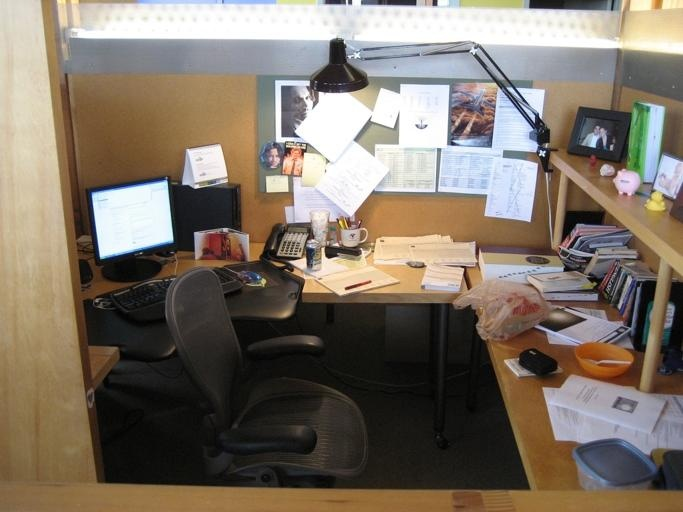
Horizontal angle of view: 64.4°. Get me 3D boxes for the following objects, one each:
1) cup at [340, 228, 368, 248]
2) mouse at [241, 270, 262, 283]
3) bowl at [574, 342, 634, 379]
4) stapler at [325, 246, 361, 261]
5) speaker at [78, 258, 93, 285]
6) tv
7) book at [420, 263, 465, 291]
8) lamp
[{"bbox_3d":[0.065,-0.093,2.741,0.138,0.087,0.084,0,13,-7],"label":"cup"},{"bbox_3d":[-0.418,0.093,2.476,0.076,0.021,0.051,3,22,2],"label":"mouse"},{"bbox_3d":[0.857,0.343,1.785,0.152,0.061,0.150,-8,24,3],"label":"bowl"},{"bbox_3d":[0.009,-0.015,2.642,0.202,0.067,0.062,2,33,7],"label":"stapler"},{"bbox_3d":[-1.073,0.066,2.269,0.068,0.029,0.111,-12,49,-28],"label":"speaker"},{"bbox_3d":[-0.959,-0.109,2.499,0.402,0.431,0.295,-15,30,-37],"label":"tv"},{"bbox_3d":[0.450,0.094,2.407,0.168,0.079,0.248,4,8,13],"label":"book"},{"bbox_3d":[0.418,-0.643,2.452,1.092,0.623,0.251,0,22,-1],"label":"lamp"}]
